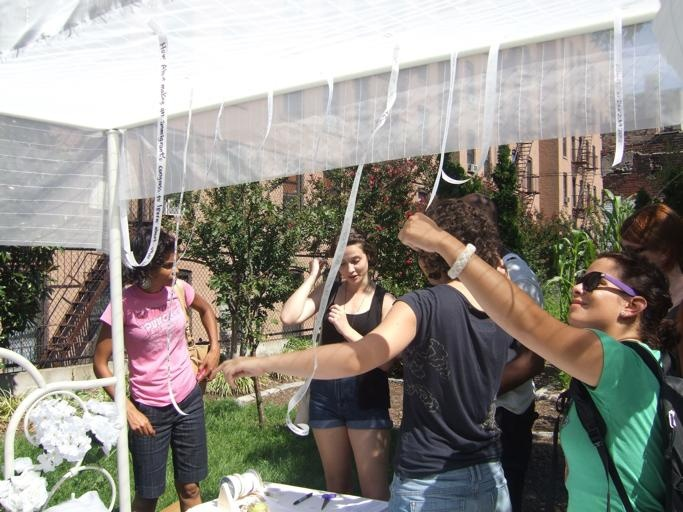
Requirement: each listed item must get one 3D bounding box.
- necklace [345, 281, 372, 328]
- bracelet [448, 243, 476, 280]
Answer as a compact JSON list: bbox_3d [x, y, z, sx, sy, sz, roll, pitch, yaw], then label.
[{"bbox_3d":[0.129,0.341,4.088,0.224,0.355,0.183,-1,-12,21],"label":"necklace"},{"bbox_3d":[0.449,0.029,2.244,0.026,0.115,0.111,29,8,-4],"label":"bracelet"}]
